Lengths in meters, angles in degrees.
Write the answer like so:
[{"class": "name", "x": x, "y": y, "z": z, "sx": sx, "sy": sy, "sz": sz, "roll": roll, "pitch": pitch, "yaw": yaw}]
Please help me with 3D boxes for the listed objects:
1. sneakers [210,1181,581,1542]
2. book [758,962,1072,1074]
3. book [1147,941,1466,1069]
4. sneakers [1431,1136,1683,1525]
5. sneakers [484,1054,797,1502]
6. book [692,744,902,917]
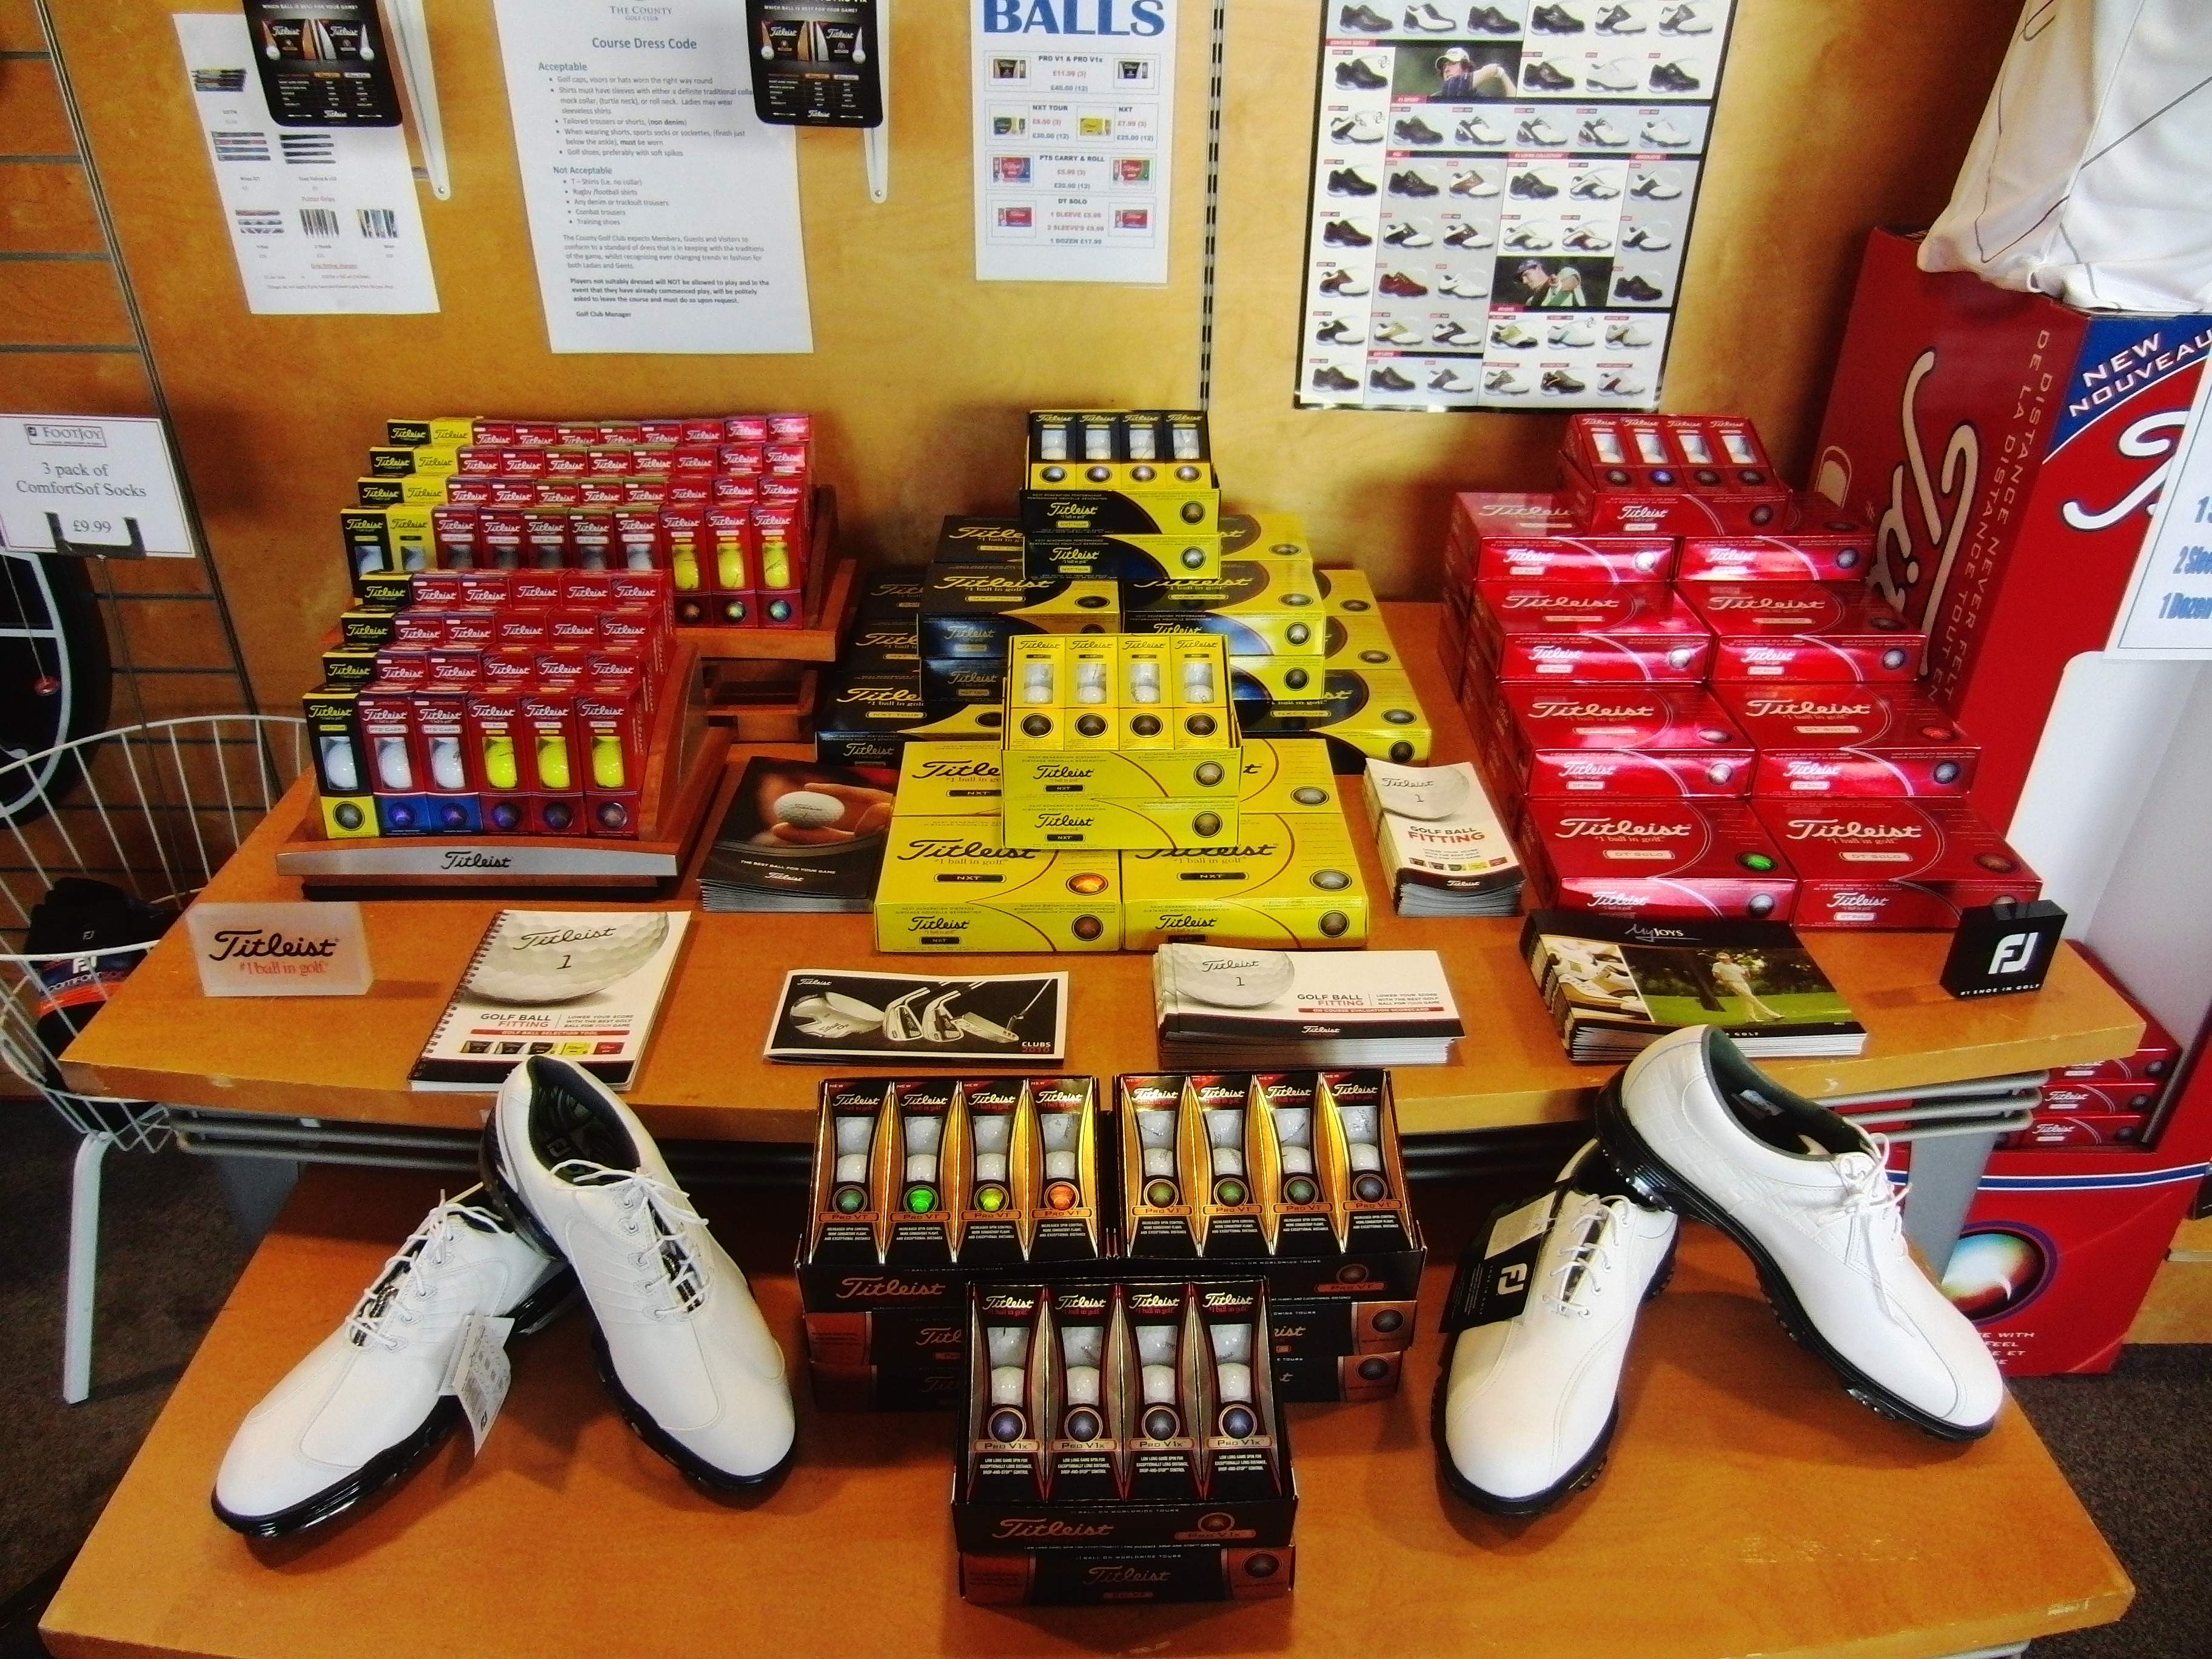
[{"class": "sneakers", "x": -0.738, "y": 0.577, "z": 1.687, "sx": 0.230, "sy": 0.204, "sz": 0.489, "roll": 38, "pitch": 49, "yaw": 9}, {"class": "book", "x": -0.228, "y": 0.199, "z": 1.746, "sx": 0.300, "sy": 0.021, "sz": 0.120, "roll": 1, "pitch": 38, "yaw": -1}, {"class": "book", "x": 0.233, "y": 0.198, "z": 1.743, "sx": 0.313, "sy": 0.050, "sz": 0.153, "roll": 0, "pitch": 31, "yaw": 0}, {"class": "sneakers", "x": 0.497, "y": 0.545, "z": 1.703, "sx": 0.254, "sy": 0.157, "sz": 0.455, "roll": 18, "pitch": 47, "yaw": 23}, {"class": "sneakers", "x": -0.530, "y": 0.503, "z": 1.646, "sx": 0.491, "sy": 0.233, "sz": 0.204, "roll": 47, "pitch": 50, "yaw": -3}, {"class": "book", "x": -0.411, "y": 0.016, "z": 2.005, "sx": 0.258, "sy": 0.046, "sz": 0.192, "roll": 4, "pitch": 41, "yaw": -1}]
